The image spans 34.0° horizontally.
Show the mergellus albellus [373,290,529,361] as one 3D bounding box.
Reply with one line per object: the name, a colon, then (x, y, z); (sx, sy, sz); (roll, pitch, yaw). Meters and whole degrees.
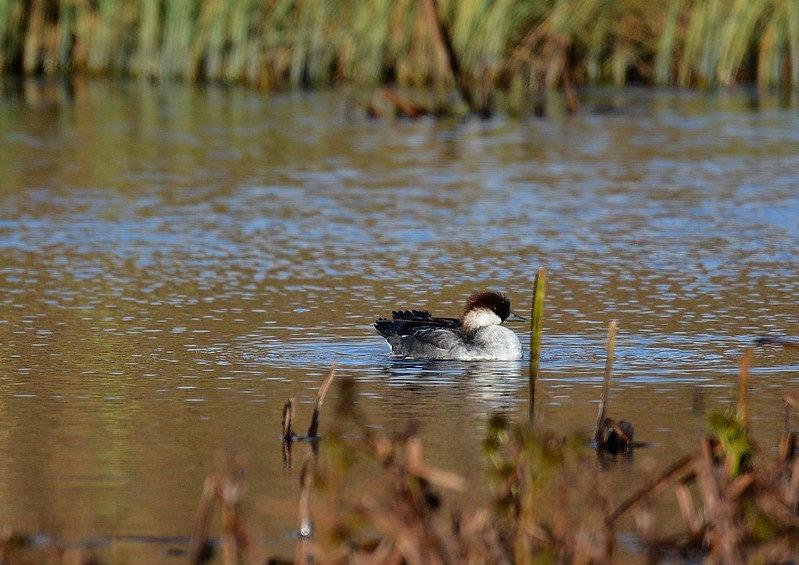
mergellus albellus: (0.503, 0.463, 13.381); (1.431, 0.747, 0.703); (0, 0, -2)
